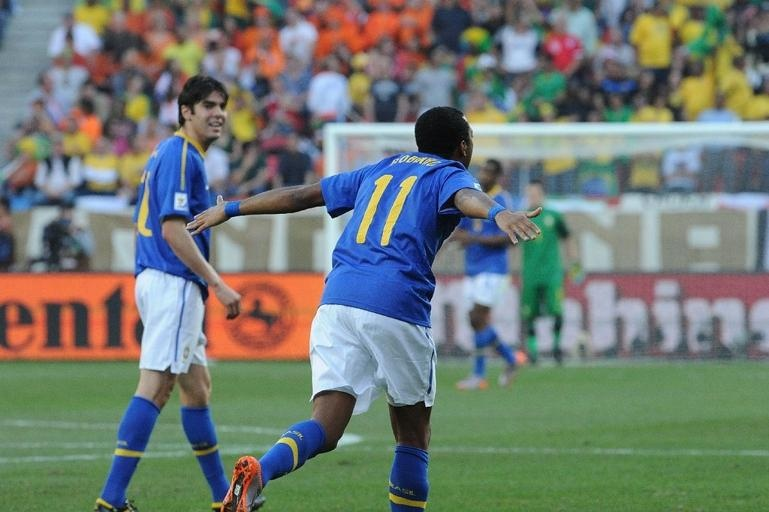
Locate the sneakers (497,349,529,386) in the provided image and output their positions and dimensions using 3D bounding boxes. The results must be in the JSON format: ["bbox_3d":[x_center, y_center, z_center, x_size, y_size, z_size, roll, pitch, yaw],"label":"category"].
[{"bbox_3d":[1.130,0.981,12.006,0.143,0.439,0.147,32,-35,9],"label":"sneakers"}]

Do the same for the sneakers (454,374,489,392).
[{"bbox_3d":[0.999,1.509,15.887,0.527,0.234,0.199,3,-10,6],"label":"sneakers"}]
